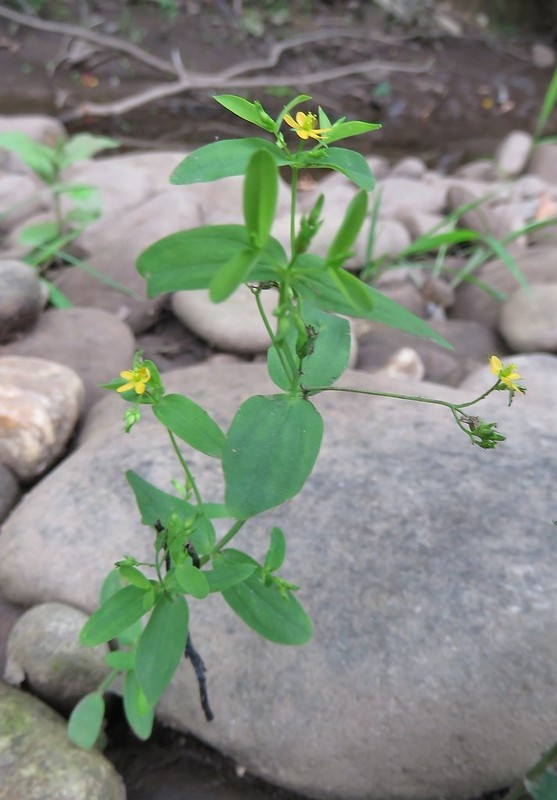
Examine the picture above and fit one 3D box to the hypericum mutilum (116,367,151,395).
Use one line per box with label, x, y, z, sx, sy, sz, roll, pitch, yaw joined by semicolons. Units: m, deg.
hypericum mutilum;-0.171;-0.025;0.808;0.040;0.037;0.030;0;35;-12
